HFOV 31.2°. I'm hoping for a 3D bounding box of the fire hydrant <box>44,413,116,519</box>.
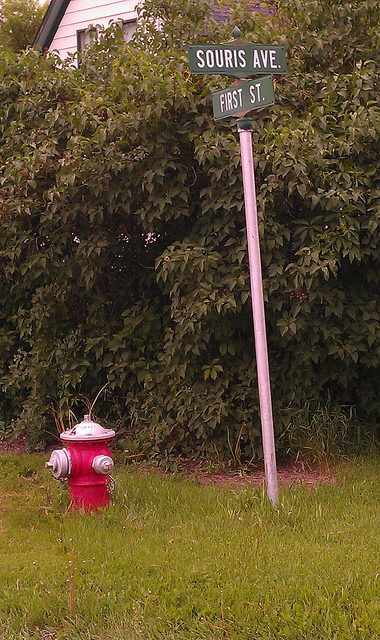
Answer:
[{"bbox_3d":[-0.593,0.878,4.336,0.539,0.652,0.540,-2,3,-21],"label":"fire hydrant"}]
